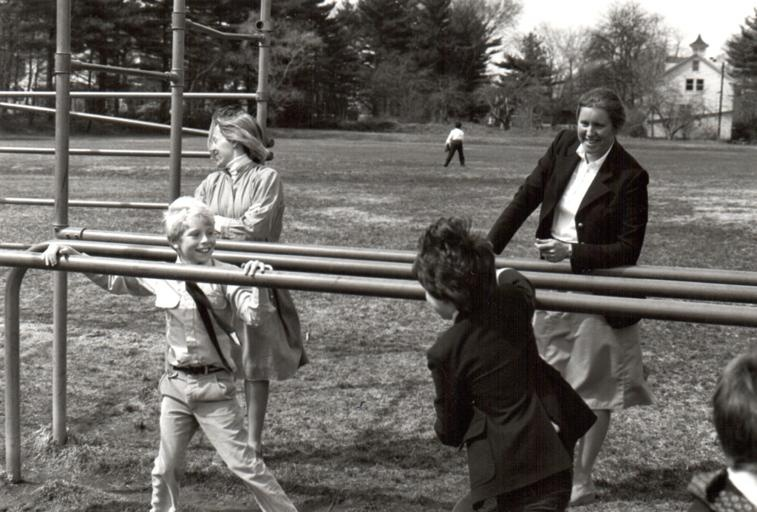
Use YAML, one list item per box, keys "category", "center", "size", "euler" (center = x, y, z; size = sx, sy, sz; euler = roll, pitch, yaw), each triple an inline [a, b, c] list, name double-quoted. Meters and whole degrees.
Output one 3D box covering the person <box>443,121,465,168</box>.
- category: "person"
  center: [1.815, -2.715, 22.979]
  size: [0.456, 1.128, 0.410]
  euler: [-5, 31, -14]
